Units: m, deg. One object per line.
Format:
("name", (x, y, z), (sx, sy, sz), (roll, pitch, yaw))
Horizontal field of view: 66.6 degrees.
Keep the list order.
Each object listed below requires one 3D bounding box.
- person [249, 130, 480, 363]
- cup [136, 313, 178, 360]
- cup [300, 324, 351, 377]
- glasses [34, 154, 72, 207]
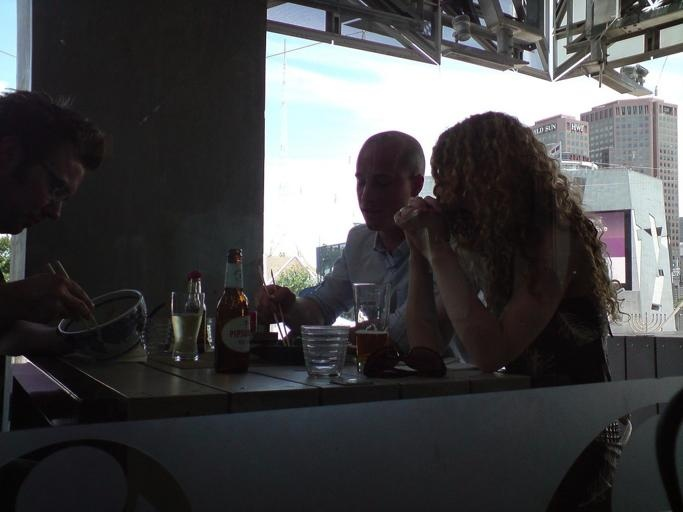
("person", (-0.055, -0.102, 2.220), (0.721, 1.043, 0.681), (12, -4, -41))
("cup", (-0.578, 0.252, 1.591), (0.125, 0.149, 0.118), (1, -18, 0))
("cup", (-0.033, 0.207, 1.117), (0.089, 0.089, 0.102), (2, -11, -16))
("glasses", (-1.050, -0.263, 1.909), (0.066, 0.120, 0.090), (-26, -6, -4))
